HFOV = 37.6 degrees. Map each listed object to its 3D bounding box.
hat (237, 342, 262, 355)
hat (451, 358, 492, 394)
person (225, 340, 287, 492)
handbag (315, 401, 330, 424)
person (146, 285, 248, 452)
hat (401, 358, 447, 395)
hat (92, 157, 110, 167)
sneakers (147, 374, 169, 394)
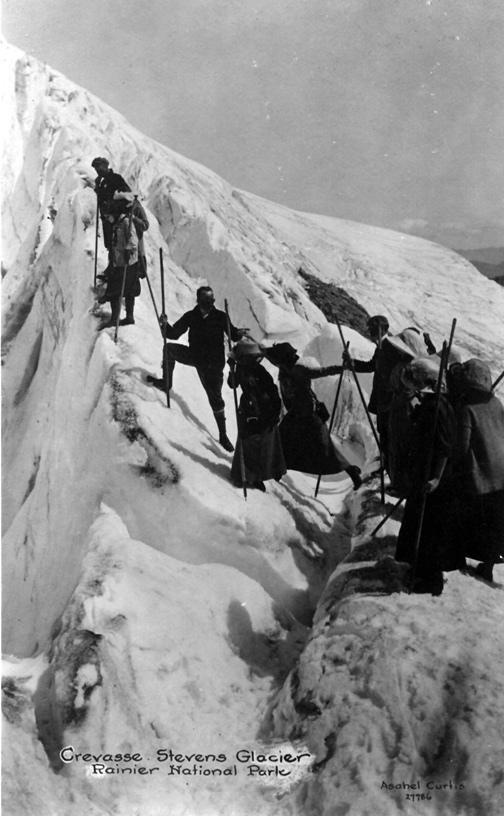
[{"bbox_3d":[-0.025,-0.400,5.169,0.170,0.077,0.110,-11,35,-8],"label":"hat"},{"bbox_3d":[1.166,-0.166,3.944,0.145,0.127,0.213,16,5,-2],"label":"hat"},{"bbox_3d":[0.012,0.086,5.233,0.391,0.950,0.554,-5,33,1],"label":"person"},{"bbox_3d":[0.521,0.047,5.528,0.100,0.161,0.040,-33,28,-11],"label":"handbag"},{"bbox_3d":[-0.385,-0.289,5.539,0.715,1.188,0.550,2,34,11],"label":"person"},{"bbox_3d":[0.953,-0.197,4.153,0.162,0.234,0.177,-8,16,10],"label":"hat"},{"bbox_3d":[-1.342,-2.181,6.576,0.145,0.065,0.153,-8,30,-19],"label":"hat"},{"bbox_3d":[-0.697,-0.163,5.463,0.132,0.109,0.046,25,26,-12],"label":"sneakers"}]
